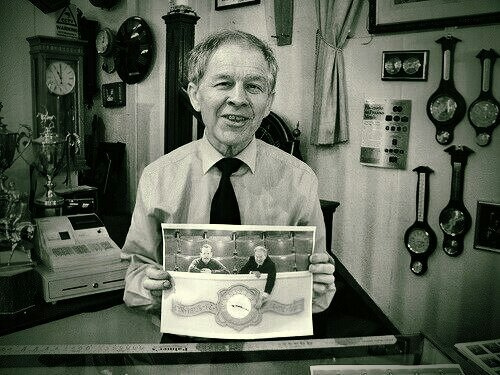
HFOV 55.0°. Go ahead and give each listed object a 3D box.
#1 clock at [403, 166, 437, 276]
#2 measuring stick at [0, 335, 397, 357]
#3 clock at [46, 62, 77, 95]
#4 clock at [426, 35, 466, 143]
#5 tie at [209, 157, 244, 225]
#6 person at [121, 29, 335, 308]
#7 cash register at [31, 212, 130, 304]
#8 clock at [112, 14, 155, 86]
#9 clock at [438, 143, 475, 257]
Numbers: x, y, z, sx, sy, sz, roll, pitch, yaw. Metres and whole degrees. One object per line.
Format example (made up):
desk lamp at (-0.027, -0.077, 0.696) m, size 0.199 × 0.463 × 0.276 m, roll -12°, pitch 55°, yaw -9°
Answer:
clock at (1.148, 0.226, 3.216) m, size 0.194 × 0.720 × 0.067 m, roll 2°, pitch 8°, yaw 18°
measuring stick at (-0.165, 0.552, 1.670) m, size 1.319 × 0.036 × 0.058 m, roll 0°, pitch 26°, yaw -1°
clock at (-1.179, -0.675, 2.969) m, size 0.027 × 0.214 × 0.207 m, roll -4°, pitch -3°, yaw 30°
clock at (1.257, -0.619, 3.066) m, size 0.213 × 0.661 × 0.057 m, roll 2°, pitch 8°, yaw 19°
tie at (-0.095, 0.009, 1.967) m, size 0.137 × 0.259 × 0.122 m, roll 0°, pitch 8°, yaw -1°
person at (-0.108, -0.080, 2.006) m, size 0.857 × 1.089 × 0.307 m, roll -3°, pitch 8°, yaw -17°
cash register at (-0.861, 0.274, 2.403) m, size 0.434 × 0.361 × 0.469 m, roll -6°, pitch 13°, yaw -37°
clock at (-0.973, -1.162, 4.052) m, size 0.482 × 0.500 × 0.158 m, roll 33°, pitch 29°, yaw 35°
clock at (1.334, 0.088, 3.092) m, size 0.198 × 0.729 × 0.090 m, roll 4°, pitch 9°, yaw 26°
